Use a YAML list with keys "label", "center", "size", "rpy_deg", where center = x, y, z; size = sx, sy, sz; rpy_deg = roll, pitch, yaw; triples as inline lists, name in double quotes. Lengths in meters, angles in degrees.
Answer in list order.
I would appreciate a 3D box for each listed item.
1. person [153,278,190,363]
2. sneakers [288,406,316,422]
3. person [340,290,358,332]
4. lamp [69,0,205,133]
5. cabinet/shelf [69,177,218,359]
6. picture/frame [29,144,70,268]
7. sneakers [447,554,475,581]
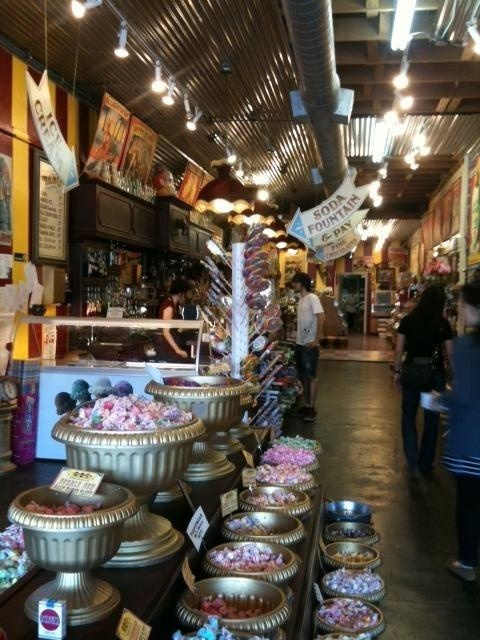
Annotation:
- label: "person"
  center: [-0.617, 0.110, 4.264]
  size: [0.319, 0.963, 0.306]
  rpy_deg: [19, 34, 26]
- label: "sneakers"
  center: [0.813, 1.177, 5.634]
  size: [0.136, 0.170, 0.398]
  rpy_deg: [1, 2, -35]
- label: "person"
  center: [5.188, -0.415, 20.582]
  size: [0.677, 1.831, 1.295]
  rpy_deg: [-3, -1, 13]
- label: "lamp"
  center: [-1.046, -2.462, 4.281]
  size: [0.127, 0.173, 1.212]
  rpy_deg: [-1, -29, 26]
- label: "cabinet/shelf"
  center: [-1.257, -0.718, 6.014]
  size: [0.879, 1.689, 2.835]
  rpy_deg: [2, 3, 18]
- label: "picture/frame"
  center: [-1.915, -1.082, 4.390]
  size: [0.140, 0.698, 0.541]
  rpy_deg: [-3, -1, 12]
- label: "sneakers"
  center: [1.125, 1.235, 2.215]
  size: [0.071, 0.048, 0.124]
  rpy_deg: [0, 0, -25]
